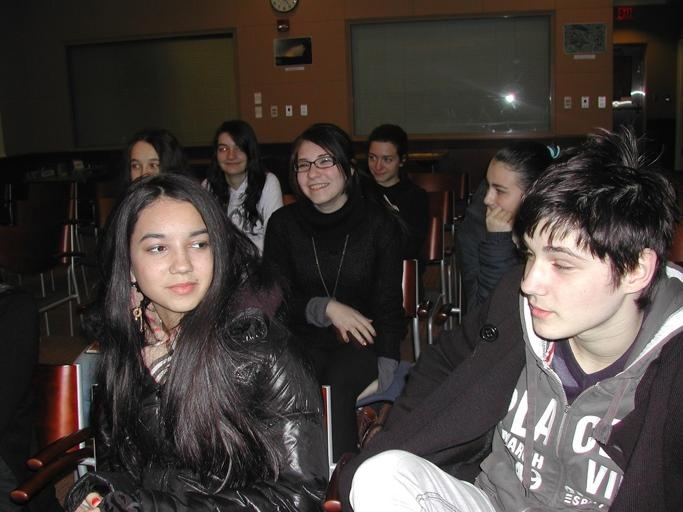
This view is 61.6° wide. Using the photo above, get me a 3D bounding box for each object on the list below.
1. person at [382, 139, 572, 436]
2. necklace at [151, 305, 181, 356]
[{"bbox_3d":[0.749,-0.006,3.430,1.005,1.880,1.004,0,3,-4],"label":"person"},{"bbox_3d":[-0.560,0.232,1.838,0.091,0.175,0.042,3,-14,7],"label":"necklace"}]
